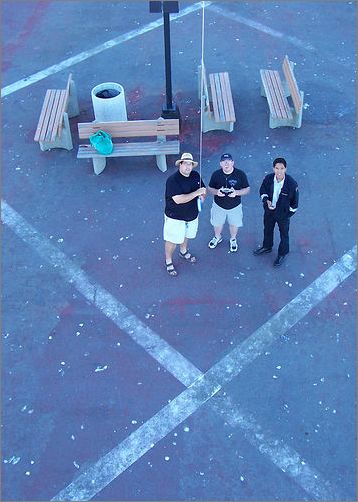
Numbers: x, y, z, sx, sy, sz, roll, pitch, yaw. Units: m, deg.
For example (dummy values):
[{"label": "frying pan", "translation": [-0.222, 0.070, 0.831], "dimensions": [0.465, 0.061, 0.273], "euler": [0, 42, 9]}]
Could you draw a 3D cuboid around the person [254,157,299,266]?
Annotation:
[{"label": "person", "translation": [1.205, -0.493, 6.580], "dimensions": [0.478, 1.522, 0.500], "euler": [3, 31, 8]}]

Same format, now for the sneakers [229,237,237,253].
[{"label": "sneakers", "translation": [0.730, -0.076, 7.140], "dimensions": [0.089, 0.087, 0.189], "euler": [-3, 53, 4]}]

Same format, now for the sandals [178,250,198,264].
[{"label": "sandals", "translation": [0.131, 0.089, 7.043], "dimensions": [0.251, 0.097, 0.113], "euler": [28, 72, 28]}]

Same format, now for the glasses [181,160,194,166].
[{"label": "glasses", "translation": [0.084, -0.985, 5.937], "dimensions": [0.075, 0.030, 0.077], "euler": [4, -4, -6]}]

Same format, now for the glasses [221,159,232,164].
[{"label": "glasses", "translation": [0.558, -1.059, 6.229], "dimensions": [0.102, 0.064, 0.154], "euler": [0, 1, 1]}]

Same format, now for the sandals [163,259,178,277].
[{"label": "sandals", "translation": [-0.111, 0.219, 6.836], "dimensions": [0.092, 0.092, 0.234], "euler": [-17, 42, -13]}]

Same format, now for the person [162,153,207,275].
[{"label": "person", "translation": [0.055, -0.437, 6.470], "dimensions": [0.501, 1.669, 0.561], "euler": [-21, 36, -28]}]

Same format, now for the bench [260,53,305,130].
[{"label": "bench", "translation": [1.827, -2.805, 9.368], "dimensions": [0.777, 1.025, 1.653], "euler": [3, 29, 7]}]

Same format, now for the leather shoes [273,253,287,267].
[{"label": "leather shoes", "translation": [1.313, 0.127, 6.920], "dimensions": [0.085, 0.095, 0.223], "euler": [25, 66, 41]}]

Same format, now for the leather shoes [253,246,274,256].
[{"label": "leather shoes", "translation": [1.108, 0.005, 7.074], "dimensions": [0.288, 0.104, 0.088], "euler": [-7, 60, -9]}]

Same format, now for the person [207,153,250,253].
[{"label": "person", "translation": [0.574, -0.584, 6.714], "dimensions": [0.394, 1.451, 0.532], "euler": [-20, 36, -28]}]

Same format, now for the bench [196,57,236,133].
[{"label": "bench", "translation": [0.679, -2.686, 9.389], "dimensions": [0.669, 0.914, 1.710], "euler": [-1, 29, 2]}]

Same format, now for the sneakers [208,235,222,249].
[{"label": "sneakers", "translation": [0.481, -0.113, 7.225], "dimensions": [0.098, 0.097, 0.237], "euler": [41, 56, 17]}]

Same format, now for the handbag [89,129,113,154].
[{"label": "handbag", "translation": [-1.189, -1.658, 8.114], "dimensions": [0.328, 0.354, 0.160], "euler": [-7, -3, 12]}]
